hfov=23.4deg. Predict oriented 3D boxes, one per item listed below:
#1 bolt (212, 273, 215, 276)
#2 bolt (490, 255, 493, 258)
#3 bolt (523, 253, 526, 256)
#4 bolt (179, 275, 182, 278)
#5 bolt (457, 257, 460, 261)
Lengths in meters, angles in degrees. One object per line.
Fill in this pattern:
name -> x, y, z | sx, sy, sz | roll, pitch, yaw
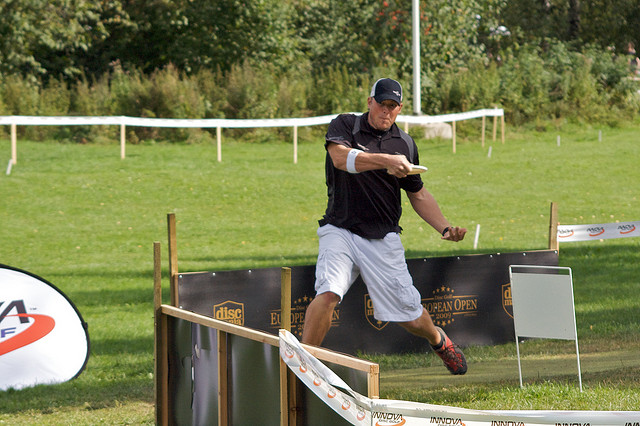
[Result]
bolt -> -2.056, 1.167, 29.943 | 0.043, 0.042, 0.047 | 7, 3, -2
bolt -> 3.458, 0.850, 31.182 | 0.048, 0.049, 0.011 | 0, -2, -2
bolt -> 4.107, 0.806, 31.067 | 0.061, 0.062, 0.015 | 10, 3, 1
bolt -> -2.671, 1.206, 29.741 | 0.054, 0.053, 0.030 | 1, 7, -1
bolt -> 2.783, 0.896, 31.024 | 0.045, 0.081, 0.021 | -4, 6, -23
